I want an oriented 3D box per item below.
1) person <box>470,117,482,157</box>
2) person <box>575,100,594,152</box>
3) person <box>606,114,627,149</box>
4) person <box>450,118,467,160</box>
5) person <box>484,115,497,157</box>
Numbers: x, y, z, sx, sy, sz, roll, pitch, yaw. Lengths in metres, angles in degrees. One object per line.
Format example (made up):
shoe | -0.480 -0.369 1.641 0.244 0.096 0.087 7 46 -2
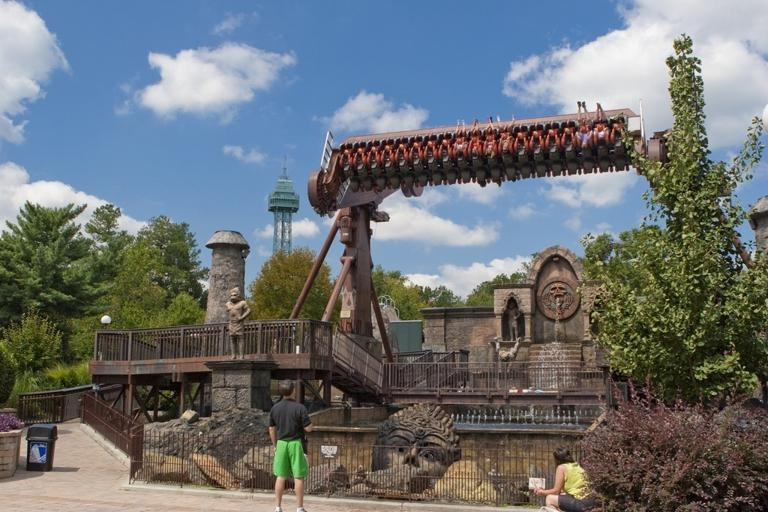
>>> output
person | 3.257 -4.209 30.317 0.499 1.087 0.703 5 2 5
person | 6.866 -4.301 29.109 0.568 1.311 0.598 5 2 12
person | 7.866 -4.252 28.768 0.508 0.942 0.483 7 3 44
person | 2.707 -4.167 30.574 0.458 1.064 0.786 5 2 4
person | 3.755 -4.216 30.050 0.433 1.114 0.497 5 2 1
